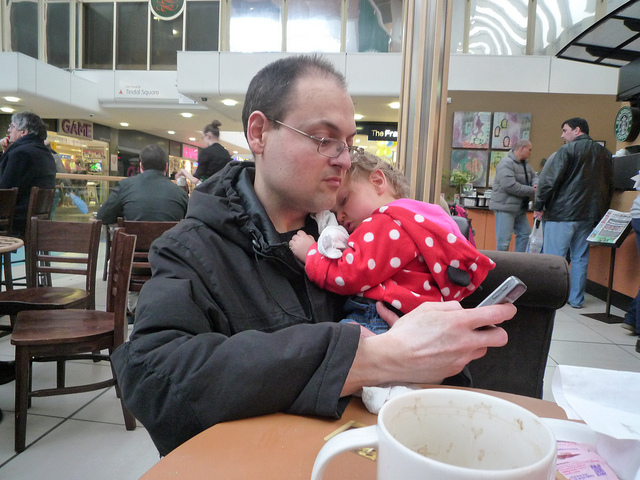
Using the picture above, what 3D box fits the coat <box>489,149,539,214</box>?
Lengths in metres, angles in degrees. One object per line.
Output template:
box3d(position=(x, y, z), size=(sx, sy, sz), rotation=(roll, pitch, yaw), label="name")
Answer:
box3d(position=(2.544, -0.753, 6.660), size=(0.531, 0.848, 0.527), rotation=(2, 8, -33), label="coat")

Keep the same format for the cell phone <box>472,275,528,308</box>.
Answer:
box3d(position=(0.595, 0.158, 1.665), size=(0.134, 0.112, 0.127), rotation=(6, 10, 28), label="cell phone")

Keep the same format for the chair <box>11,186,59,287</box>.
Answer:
box3d(position=(-2.688, -0.116, 4.694), size=(0.373, 0.682, 0.365), rotation=(0, -3, 6), label="chair")

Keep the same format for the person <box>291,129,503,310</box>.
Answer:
box3d(position=(0.333, 0.158, 2.332), size=(0.737, 0.651, 1.040), rotation=(3, 48, 10), label="person")

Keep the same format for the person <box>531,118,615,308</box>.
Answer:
box3d(position=(2.632, -0.219, 5.399), size=(0.731, 1.741, 0.601), rotation=(6, 10, 24), label="person")

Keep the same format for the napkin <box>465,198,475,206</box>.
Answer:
box3d(position=(2.220, -0.560, 7.614), size=(0.130, 0.143, 0.097), rotation=(-2, -11, 12), label="napkin")

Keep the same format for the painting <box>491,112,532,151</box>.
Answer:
box3d(position=(3.151, -1.794, 8.464), size=(0.588, 0.667, 0.063), rotation=(5, -11, 12), label="painting")

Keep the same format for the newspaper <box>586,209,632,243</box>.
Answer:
box3d(position=(2.726, -0.120, 4.825), size=(0.247, 0.297, 0.328), rotation=(-1, 9, -18), label="newspaper")

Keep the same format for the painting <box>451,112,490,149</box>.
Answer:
box3d(position=(2.522, -1.830, 8.518), size=(0.508, 0.610, 0.058), rotation=(-2, 8, 18), label="painting")
